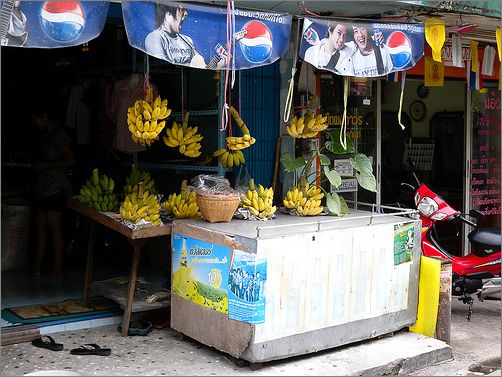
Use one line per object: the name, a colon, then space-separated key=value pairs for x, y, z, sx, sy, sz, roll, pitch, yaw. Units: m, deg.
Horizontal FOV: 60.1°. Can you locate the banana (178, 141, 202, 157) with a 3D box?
banana: x=-0.794 y=-0.505 z=5.529 sx=0.209 sy=0.171 sz=0.192 roll=24 pitch=-26 yaw=43

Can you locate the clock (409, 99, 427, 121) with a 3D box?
clock: x=4.070 y=-1.857 z=10.409 sx=0.387 sy=0.450 sz=0.397 roll=-23 pitch=-9 yaw=42

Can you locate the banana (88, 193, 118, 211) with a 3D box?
banana: x=-1.837 y=0.168 z=5.276 sx=0.206 sy=0.168 sz=0.229 roll=2 pitch=-1 yaw=-29

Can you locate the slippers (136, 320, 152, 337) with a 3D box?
slippers: x=-1.199 y=1.556 z=4.827 sx=0.155 sy=0.093 sz=0.237 roll=1 pitch=6 yaw=-10

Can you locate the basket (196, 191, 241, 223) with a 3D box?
basket: x=-0.346 y=0.192 z=4.499 sx=0.309 sy=0.257 sz=0.340 roll=2 pitch=-1 yaw=-11

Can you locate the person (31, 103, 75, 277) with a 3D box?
person: x=-2.983 y=0.065 z=6.368 sx=0.698 sy=2.457 sz=0.418 roll=4 pitch=5 yaw=21

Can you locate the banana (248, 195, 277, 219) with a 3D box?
banana: x=0.136 y=0.182 z=4.832 sx=0.247 sy=0.166 sz=0.226 roll=-3 pitch=36 yaw=-49

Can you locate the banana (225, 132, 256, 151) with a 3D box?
banana: x=-0.132 y=-0.535 z=4.984 sx=0.348 sy=0.179 sz=0.156 roll=4 pitch=5 yaw=44

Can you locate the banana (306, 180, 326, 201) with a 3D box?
banana: x=0.812 y=0.043 z=5.305 sx=0.190 sy=0.202 sz=0.191 roll=9 pitch=-1 yaw=34

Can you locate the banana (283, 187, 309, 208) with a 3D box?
banana: x=0.529 y=0.129 z=5.144 sx=0.233 sy=0.191 sz=0.208 roll=9 pitch=-12 yaw=-29

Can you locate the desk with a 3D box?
desk: x=-1.486 y=0.888 z=5.245 sx=1.195 sy=1.110 sz=1.323 roll=17 pitch=9 yaw=35

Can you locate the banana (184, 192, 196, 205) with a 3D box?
banana: x=-0.722 y=0.109 z=5.066 sx=0.108 sy=0.136 sz=0.044 roll=-2 pitch=-17 yaw=10

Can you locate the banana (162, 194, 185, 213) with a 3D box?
banana: x=-0.921 y=0.165 z=5.035 sx=0.201 sy=0.155 sz=0.212 roll=-2 pitch=-13 yaw=5
